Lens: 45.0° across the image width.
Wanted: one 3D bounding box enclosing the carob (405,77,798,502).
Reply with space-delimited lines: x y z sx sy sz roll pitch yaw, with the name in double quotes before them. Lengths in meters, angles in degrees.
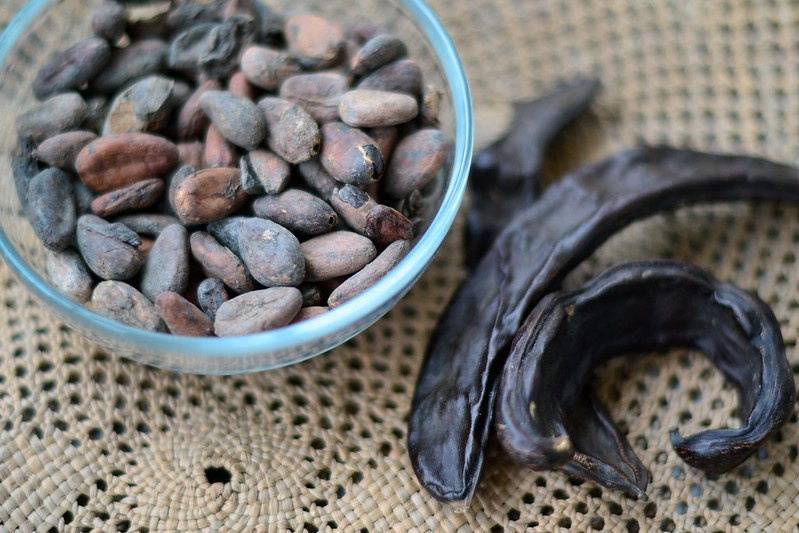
"carob" 0.275 0.059 1.218 0.451 0.174 0.551 16 61 9
